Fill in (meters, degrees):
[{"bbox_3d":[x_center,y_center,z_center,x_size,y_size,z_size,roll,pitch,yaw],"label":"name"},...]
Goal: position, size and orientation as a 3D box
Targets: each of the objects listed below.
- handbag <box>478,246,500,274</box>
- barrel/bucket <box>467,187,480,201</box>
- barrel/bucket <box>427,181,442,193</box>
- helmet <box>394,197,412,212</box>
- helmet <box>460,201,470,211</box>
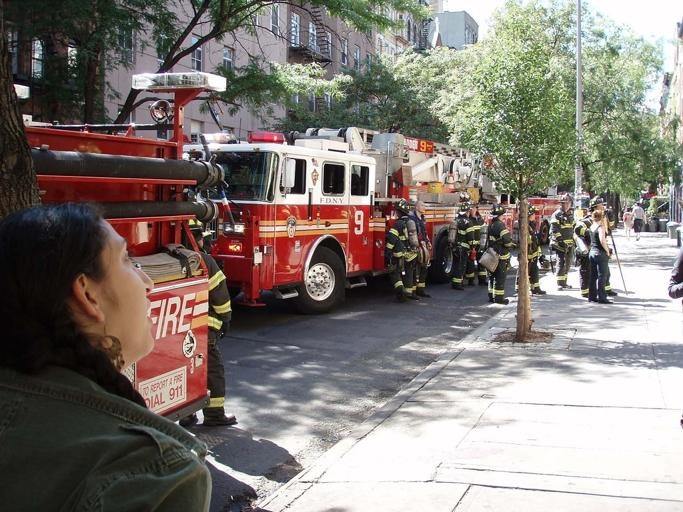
[{"bbox_3d":[3.414,0.083,12.823,0.174,0.426,0.510,22,21,-37],"label":"handbag"},{"bbox_3d":[4.141,-1.984,17.752,0.351,0.641,0.646,2,10,21],"label":"barrel/bucket"},{"bbox_3d":[2.581,-1.897,15.500,0.320,0.436,0.460,3,4,23],"label":"barrel/bucket"},{"bbox_3d":[1.419,-1.176,12.806,0.341,0.362,0.284,-21,-29,37],"label":"helmet"},{"bbox_3d":[3.324,-1.341,15.116,0.199,0.256,0.241,4,-3,9],"label":"helmet"}]
